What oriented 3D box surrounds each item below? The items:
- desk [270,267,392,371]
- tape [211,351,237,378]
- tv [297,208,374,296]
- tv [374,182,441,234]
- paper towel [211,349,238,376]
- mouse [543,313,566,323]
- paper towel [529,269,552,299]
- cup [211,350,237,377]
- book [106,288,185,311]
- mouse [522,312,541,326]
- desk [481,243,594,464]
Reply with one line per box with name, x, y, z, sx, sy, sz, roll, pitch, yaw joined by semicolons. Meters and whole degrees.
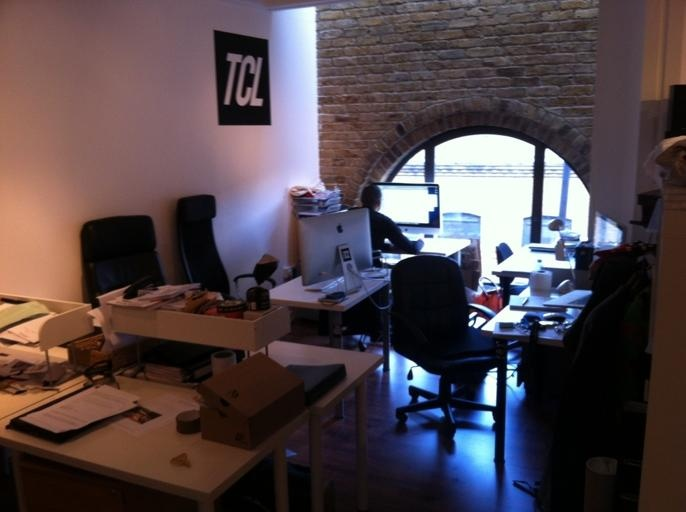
desk;-0.130;0.609;4.517;0.792;0.943;1.036;4;10;23
tape;-0.627;0.551;2.846;0.128;0.147;0.147;0;4;-3
tv;-0.051;-0.009;4.081;0.649;0.497;0.215;-15;22;-41
tv;0.688;-0.510;5.715;0.522;0.373;0.171;9;23;24
paper towel;-0.631;0.542;2.840;0.127;0.148;0.147;4;6;23
mouse;1.400;0.405;3.600;0.099;0.034;0.065;2;8;33
paper towel;1.507;0.220;4.130;0.176;0.189;0.185;-2;3;-43
cup;-0.630;0.553;2.882;0.128;0.147;0.147;0;6;-5
book;-1.089;0.233;2.954;0.195;0.043;0.196;3;9;22
mouse;1.251;0.410;3.576;0.074;0.069;0.108;5;13;34
desk;1.365;0.710;3.781;0.563;0.676;1.410;4;11;27
